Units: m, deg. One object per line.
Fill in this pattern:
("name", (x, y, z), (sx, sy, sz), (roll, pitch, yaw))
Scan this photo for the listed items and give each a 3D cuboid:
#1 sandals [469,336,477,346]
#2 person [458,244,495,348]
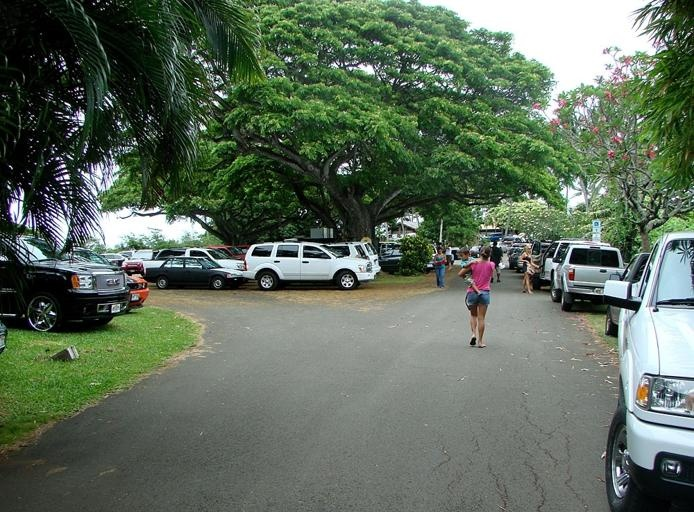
("sandals", (2.654, 1.780, 10.480), (0.099, 0.091, 0.217), (1, -41, -1))
("person", (2.754, 0.847, 10.604), (0.607, 2.081, 0.875), (0, 5, 25))
